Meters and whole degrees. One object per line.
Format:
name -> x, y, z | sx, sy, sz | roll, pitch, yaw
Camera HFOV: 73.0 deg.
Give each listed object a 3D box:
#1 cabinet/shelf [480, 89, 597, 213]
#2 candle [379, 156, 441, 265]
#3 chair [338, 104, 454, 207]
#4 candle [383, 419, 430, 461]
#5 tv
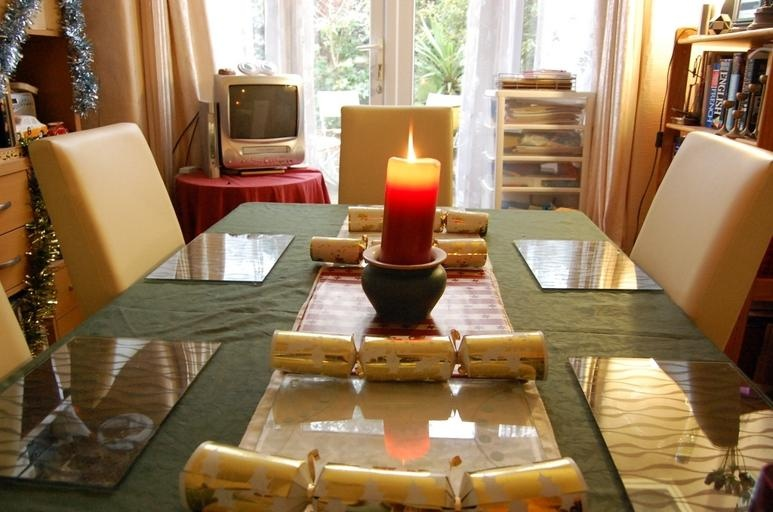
cabinet/shelf -> 0.940, -0.675, 3.213 | 0.516, 0.799, 0.470 | 0, 15, 16
candle -> 0.042, -0.076, 0.942 | 0.103, 0.194, 0.071 | 0, 24, 1
chair -> 0.034, -0.349, 1.930 | 0.416, 0.353, 0.405 | 1, 29, -1
candle -> 0.031, 0.260, 0.766 | 0.074, 0.054, 0.074 | -3, -10, 20
tv -> -0.696, -0.746, 2.836 | 0.476, 0.489, 0.309 | -8, 29, -25
